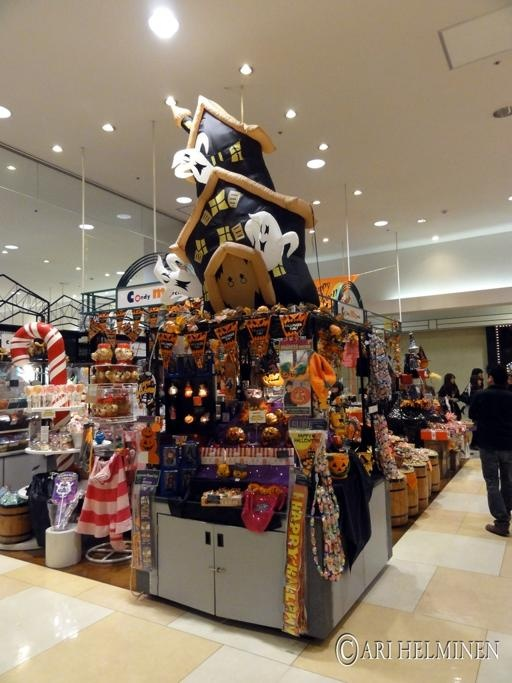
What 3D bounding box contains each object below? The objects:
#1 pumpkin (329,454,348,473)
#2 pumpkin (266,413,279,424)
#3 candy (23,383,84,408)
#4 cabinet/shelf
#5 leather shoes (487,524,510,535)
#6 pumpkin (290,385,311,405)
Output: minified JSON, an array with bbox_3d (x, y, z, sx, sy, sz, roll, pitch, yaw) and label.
[{"bbox_3d":[0.529,0.779,3.373,0.117,0.102,0.110,-9,1,-20],"label":"pumpkin"},{"bbox_3d":[0.118,0.556,3.705,0.057,0.075,0.059,-25,-61,36],"label":"pumpkin"},{"bbox_3d":[-2.057,0.509,5.216,0.393,0.127,0.299,0,-3,12],"label":"candy"},{"bbox_3d":[0.024,0.732,3.748,1.524,2.080,1.114,-4,-5,31],"label":"cabinet/shelf"},{"bbox_3d":[2.223,1.722,4.785,0.197,0.096,0.190,-3,-4,23],"label":"leather shoes"},{"bbox_3d":[0.270,0.329,3.179,0.117,0.114,0.037,-2,-10,22],"label":"pumpkin"}]
